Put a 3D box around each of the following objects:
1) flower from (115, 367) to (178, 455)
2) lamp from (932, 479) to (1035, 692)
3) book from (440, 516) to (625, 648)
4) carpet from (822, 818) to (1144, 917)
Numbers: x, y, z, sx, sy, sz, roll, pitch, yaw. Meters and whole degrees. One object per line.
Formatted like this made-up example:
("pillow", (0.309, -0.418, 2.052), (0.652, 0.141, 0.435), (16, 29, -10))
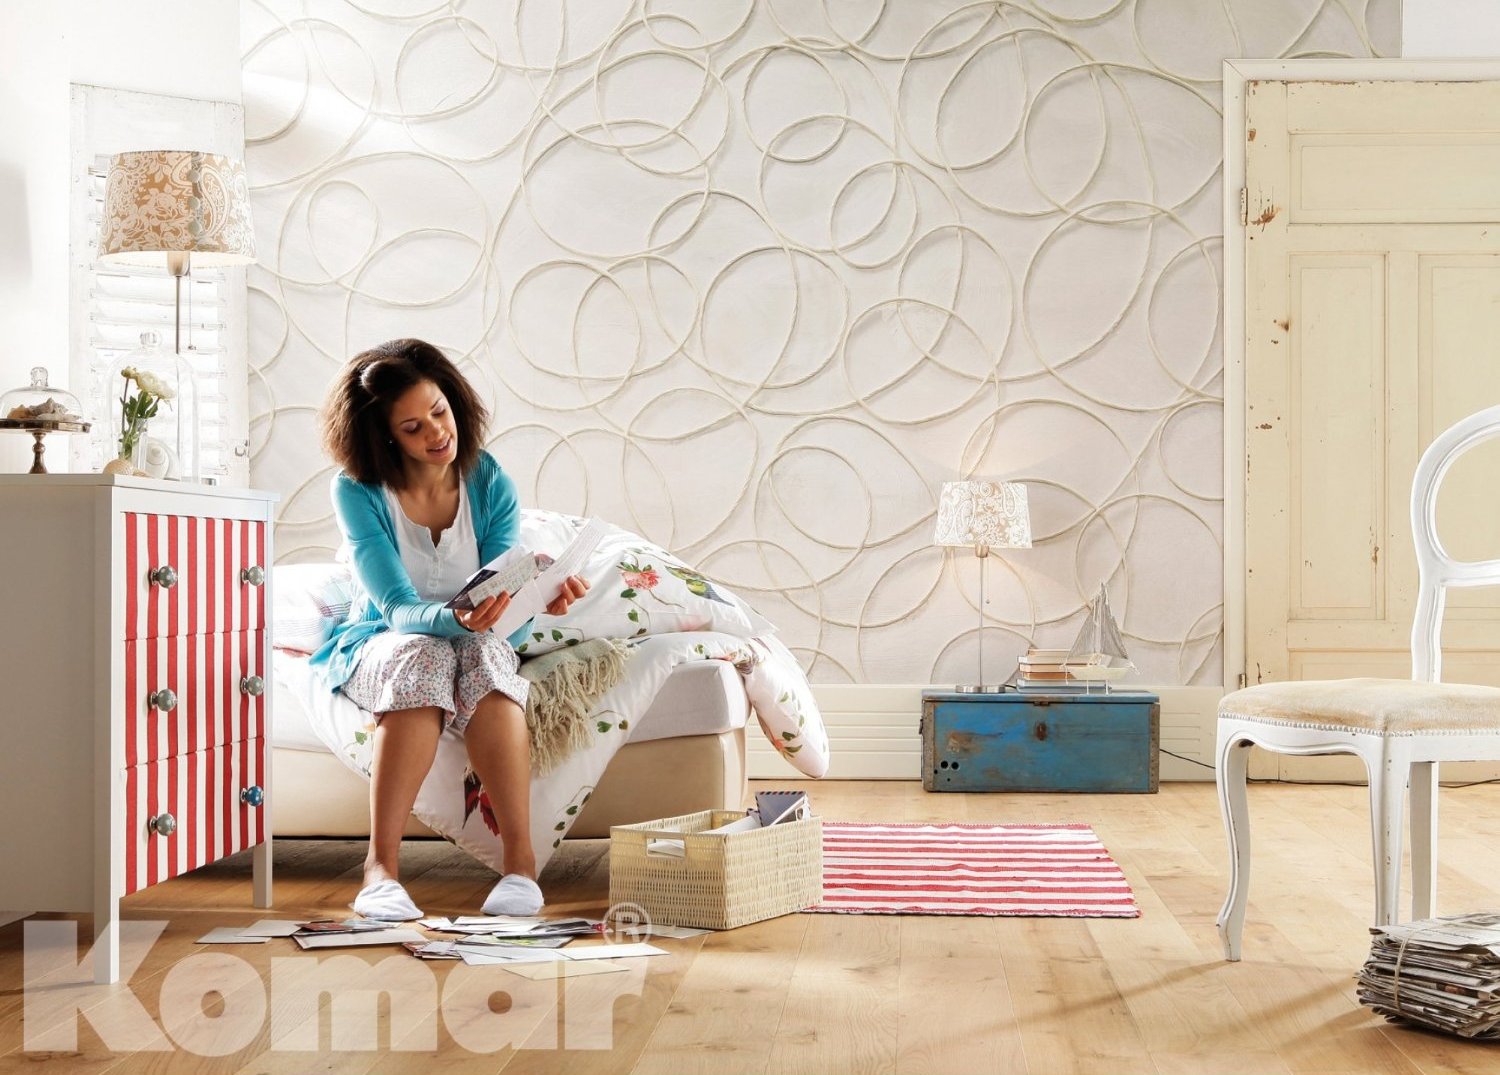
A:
("flower", (-1.383, -0.280, 2.733), (0.127, 0.201, 0.140), (21, -2, -35))
("lamp", (0.856, 0.161, 4.358), (0.344, 0.758, 0.278), (0, 0, 13))
("book", (-0.498, 0.033, 2.710), (0.333, 0.121, 0.261), (-37, -8, -8))
("carpet", (0.556, 0.831, 3.077), (0.754, 0.020, 0.930), (0, -1, 6))
